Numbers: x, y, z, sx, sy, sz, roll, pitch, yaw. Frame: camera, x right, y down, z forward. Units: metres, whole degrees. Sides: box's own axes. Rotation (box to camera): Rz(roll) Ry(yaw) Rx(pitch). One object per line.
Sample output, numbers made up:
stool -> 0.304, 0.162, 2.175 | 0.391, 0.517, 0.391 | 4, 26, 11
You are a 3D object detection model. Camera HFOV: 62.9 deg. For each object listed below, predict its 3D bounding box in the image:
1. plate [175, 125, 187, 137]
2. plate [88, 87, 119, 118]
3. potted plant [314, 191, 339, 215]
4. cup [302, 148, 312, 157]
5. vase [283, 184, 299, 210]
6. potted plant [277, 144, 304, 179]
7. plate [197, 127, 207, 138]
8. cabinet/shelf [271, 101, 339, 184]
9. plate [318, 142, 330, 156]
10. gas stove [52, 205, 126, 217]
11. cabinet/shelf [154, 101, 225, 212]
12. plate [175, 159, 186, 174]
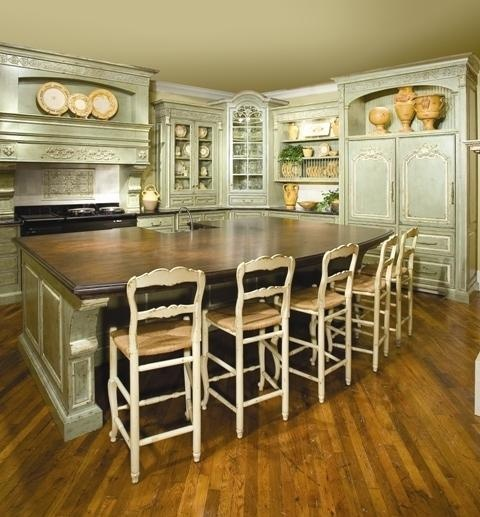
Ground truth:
plate -> -0.882, -1.873, 5.841 | 0.035, 0.187, 0.208 | 7, 11, 43
plate -> -1.762, -1.968, 5.060 | 0.379, 0.400, 0.151 | -6, 10, -35
potted plant -> 1.316, -0.826, 5.871 | 0.377, 0.307, 0.429 | -1, 9, 2
cup -> 1.057, -1.639, 6.140 | 0.121, 0.106, 0.123 | -1, 14, 0
vase -> 0.802, -0.963, 6.223 | 0.346, 0.474, 0.363 | 2, 8, 18
potted plant -> 0.799, -1.514, 6.176 | 0.385, 0.247, 0.521 | -2, 7, -12
plate -> -0.597, -1.927, 6.026 | 0.156, 0.175, 0.038 | 5, 5, -12
cabinet/shelf -> 1.120, -1.693, 6.102 | 1.112, 1.146, 0.373 | 6, 10, 32
plate -> 1.295, -1.647, 6.026 | 0.158, 0.208, 0.232 | 1, 8, 10
gas stove -> -1.891, -0.620, 5.096 | 0.830, 0.141, 0.689 | -5, 9, -30
cabinet/shelf -> -0.754, -1.530, 6.017 | 1.101, 1.539, 0.301 | -6, 10, -37
plate -> -0.892, -1.350, 5.901 | 0.187, 0.205, 0.052 | -7, 10, -40
